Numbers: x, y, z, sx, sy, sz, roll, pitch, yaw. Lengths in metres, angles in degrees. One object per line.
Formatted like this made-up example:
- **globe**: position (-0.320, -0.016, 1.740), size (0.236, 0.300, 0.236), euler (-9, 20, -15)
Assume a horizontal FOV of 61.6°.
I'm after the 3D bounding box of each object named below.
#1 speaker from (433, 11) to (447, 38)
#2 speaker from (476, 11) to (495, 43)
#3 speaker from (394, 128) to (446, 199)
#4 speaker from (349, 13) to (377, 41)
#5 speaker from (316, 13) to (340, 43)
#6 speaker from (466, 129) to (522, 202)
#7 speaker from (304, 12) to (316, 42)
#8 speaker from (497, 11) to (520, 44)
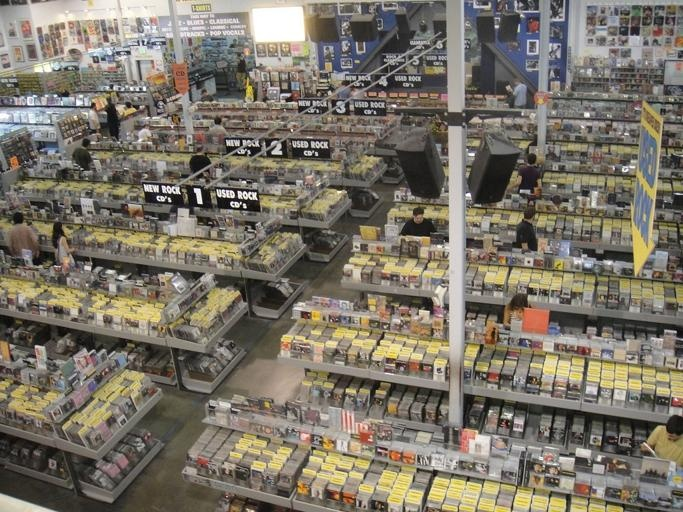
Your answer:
- **speaker**: position (3.002, -7.128, 17.748), size (0.348, 0.647, 0.916), euler (-2, 24, 6)
- **speaker**: position (4.163, -6.637, 16.563), size (0.489, 0.817, 0.429), euler (-2, 24, 8)
- **speaker**: position (0.783, -0.877, 5.834), size (0.421, 0.728, 0.509), euler (3, 25, 17)
- **speaker**: position (0.413, -4.468, 11.085), size (0.580, 0.506, 0.521), euler (0, 39, 9)
- **speaker**: position (-0.277, -4.004, 10.067), size (0.386, 0.434, 0.365), euler (-6, 24, -2)
- **speaker**: position (1.506, -0.802, 5.698), size (0.439, 0.742, 0.545), euler (-1, 24, 9)
- **speaker**: position (-0.554, -4.064, 10.194), size (0.169, 0.434, 0.516), euler (-8, 24, -6)
- **speaker**: position (4.657, -6.416, 15.965), size (0.562, 0.753, 0.442), euler (2, 25, 15)
